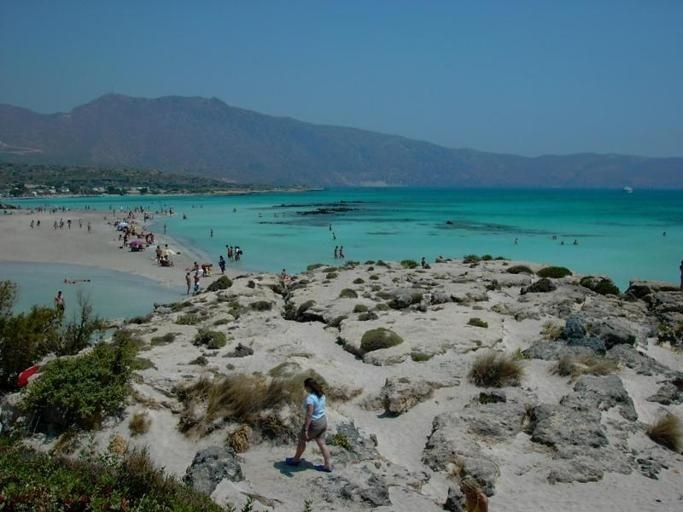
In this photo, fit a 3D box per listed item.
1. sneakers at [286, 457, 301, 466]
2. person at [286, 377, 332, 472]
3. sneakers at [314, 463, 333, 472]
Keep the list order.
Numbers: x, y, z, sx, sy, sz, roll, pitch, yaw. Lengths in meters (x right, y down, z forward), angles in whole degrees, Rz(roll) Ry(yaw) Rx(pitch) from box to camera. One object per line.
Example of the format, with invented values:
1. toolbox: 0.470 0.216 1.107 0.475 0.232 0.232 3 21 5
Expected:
1. sneakers: -1.134 4.866 11.958 0.333 0.103 0.176 2 -4 27
2. person: -0.730 3.905 12.001 1.041 2.135 0.871 2 4 -13
3. sneakers: -0.436 4.979 11.870 0.419 0.106 0.156 6 0 22
